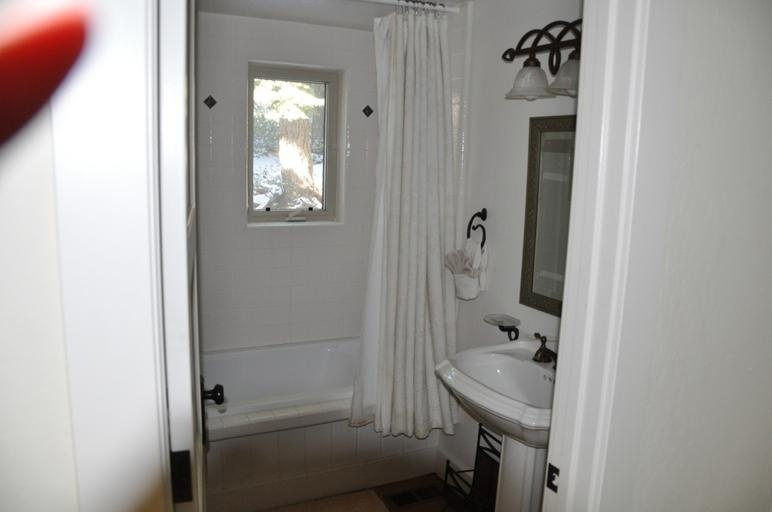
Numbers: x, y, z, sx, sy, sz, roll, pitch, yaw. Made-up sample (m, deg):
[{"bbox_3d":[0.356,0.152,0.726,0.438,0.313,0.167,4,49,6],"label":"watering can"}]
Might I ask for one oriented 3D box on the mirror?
[{"bbox_3d":[0.727,-0.181,2.527,0.084,0.894,0.289,-8,13,-33],"label":"mirror"}]
